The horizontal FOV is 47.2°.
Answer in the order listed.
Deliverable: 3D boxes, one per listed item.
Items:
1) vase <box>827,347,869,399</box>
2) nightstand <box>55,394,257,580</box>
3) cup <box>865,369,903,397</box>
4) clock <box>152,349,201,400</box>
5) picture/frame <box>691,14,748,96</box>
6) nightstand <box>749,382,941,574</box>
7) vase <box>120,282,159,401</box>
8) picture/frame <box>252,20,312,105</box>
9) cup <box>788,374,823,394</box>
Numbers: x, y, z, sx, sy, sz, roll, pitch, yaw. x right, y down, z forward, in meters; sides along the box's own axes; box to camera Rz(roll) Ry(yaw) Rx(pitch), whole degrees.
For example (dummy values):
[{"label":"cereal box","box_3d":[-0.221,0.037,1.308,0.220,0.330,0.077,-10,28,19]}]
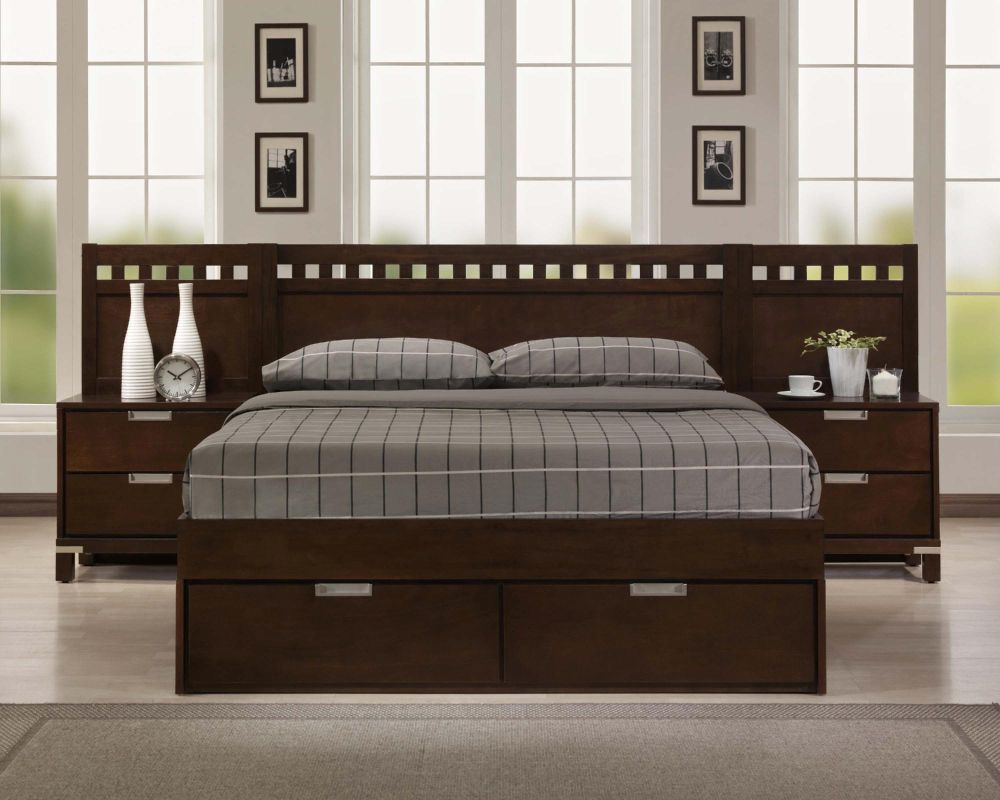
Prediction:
[{"label":"vase","box_3d":[1.289,-0.102,4.248,0.169,0.190,0.176,1,-6,1]},{"label":"nightstand","box_3d":[-1.230,0.317,4.288,0.705,0.637,0.508,-1,0,1]},{"label":"cup","box_3d":[1.413,-0.062,4.187,0.095,0.079,0.107,2,-3,-4]},{"label":"clock","box_3d":[-1.212,-0.089,4.246,0.174,0.185,0.043,-4,-1,-8]},{"label":"picture/frame","box_3d":[0.916,-1.467,4.810,0.337,0.469,0.021,0,2,0]},{"label":"nightstand","box_3d":[1.260,0.275,4.372,0.871,0.804,0.560,0,0,5]},{"label":"vase","box_3d":[-1.379,-0.224,4.285,0.121,0.408,0.270,-4,11,-18]},{"label":"picture/frame","box_3d":[-0.931,-1.420,4.818,0.225,0.303,0.020,3,7,14]},{"label":"cup","box_3d":[1.146,-0.057,4.304,0.075,0.053,0.119,-1,-4,27]}]
